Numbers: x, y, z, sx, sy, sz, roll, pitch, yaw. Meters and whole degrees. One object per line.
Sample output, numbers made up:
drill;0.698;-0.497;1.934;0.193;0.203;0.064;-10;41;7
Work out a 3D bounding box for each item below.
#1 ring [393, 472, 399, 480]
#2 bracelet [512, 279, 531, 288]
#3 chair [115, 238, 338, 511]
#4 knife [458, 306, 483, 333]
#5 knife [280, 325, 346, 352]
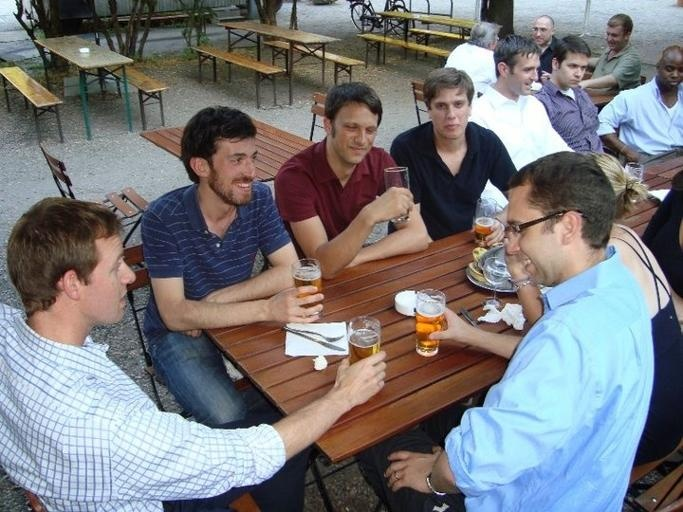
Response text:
ring;0.237;0.954;2.114;0.005;0.019;0.019;-4;26;-45
bracelet;0.881;0.132;2.388;0.086;0.043;0.065;-20;18;-32
chair;-0.590;0.854;2.875;1.150;1.392;1.410;-8;37;-21
knife;0.659;0.320;2.468;0.034;0.023;0.189;-38;18;3
knife;-0.136;0.387;2.341;0.269;0.022;0.095;12;38;17
